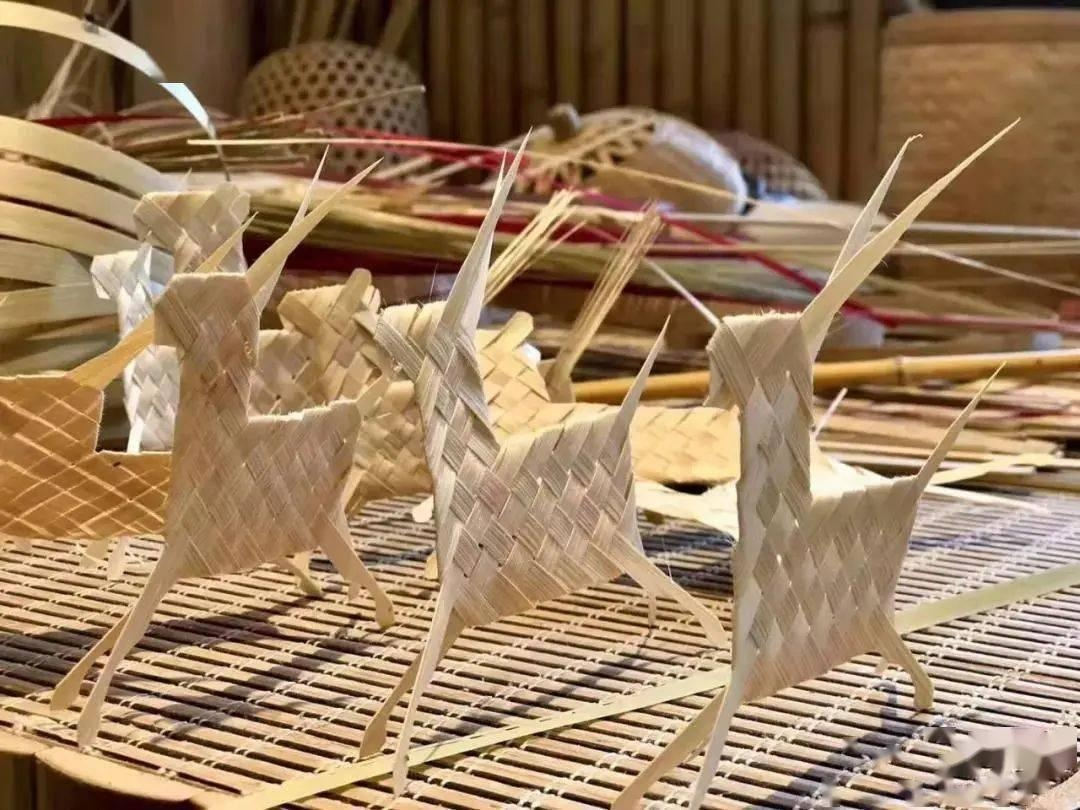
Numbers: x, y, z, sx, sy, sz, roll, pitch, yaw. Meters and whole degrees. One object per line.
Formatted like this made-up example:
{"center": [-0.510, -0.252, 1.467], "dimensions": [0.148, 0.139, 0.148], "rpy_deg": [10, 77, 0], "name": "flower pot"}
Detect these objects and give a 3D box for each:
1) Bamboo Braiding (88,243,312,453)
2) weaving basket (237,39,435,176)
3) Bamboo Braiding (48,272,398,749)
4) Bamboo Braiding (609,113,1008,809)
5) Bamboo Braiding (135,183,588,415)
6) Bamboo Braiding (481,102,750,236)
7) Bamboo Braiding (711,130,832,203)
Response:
{"center": [-0.343, -0.035, 1.199], "dimensions": [0.196, 0.187, 0.058], "rpy_deg": [-2, -2, -22], "name": "Bamboo Braiding"}
{"center": [-0.293, -0.444, 2.148], "dimensions": [0.330, 0.283, 0.322], "rpy_deg": [1, 2, -3], "name": "weaving basket"}
{"center": [-0.217, 0.098, 0.989], "dimensions": [0.128, 0.324, 0.315], "rpy_deg": [3, -13, 19], "name": "Bamboo Braiding"}
{"center": [0.214, 0.050, 0.952], "dimensions": [0.209, 0.488, 0.394], "rpy_deg": [2, -13, 21], "name": "Bamboo Braiding"}
{"center": [-0.167, -0.078, 1.107], "dimensions": [0.361, 0.131, 0.079], "rpy_deg": [-13, -12, 22], "name": "Bamboo Braiding"}
{"center": [0.130, -0.344, 1.854], "dimensions": [0.274, 0.105, 0.242], "rpy_deg": [14, 16, 3], "name": "Bamboo Braiding"}
{"center": [0.355, -0.362, 2.038], "dimensions": [0.168, 0.052, 0.115], "rpy_deg": [19, 18, -22], "name": "Bamboo Braiding"}
